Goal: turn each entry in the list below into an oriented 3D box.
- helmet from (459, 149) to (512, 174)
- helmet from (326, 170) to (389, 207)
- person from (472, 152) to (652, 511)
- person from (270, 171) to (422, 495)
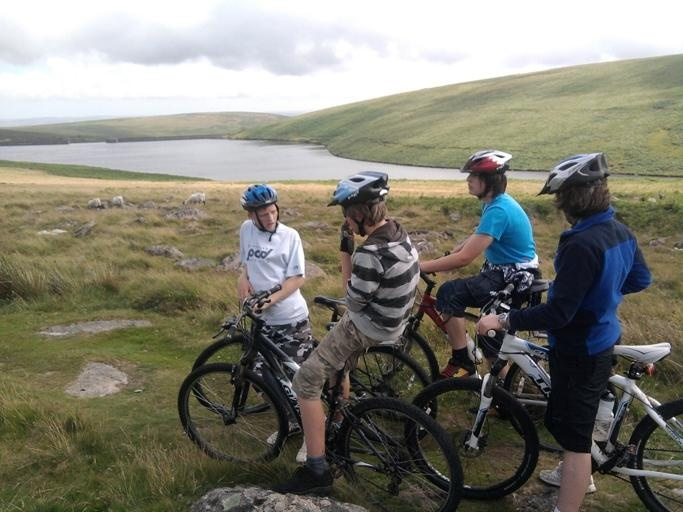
[{"bbox_3d":[1.952,-1.238,6.917,0.535,0.206,0.375,0,15,5],"label":"helmet"},{"bbox_3d":[0.173,-0.679,5.584,0.594,0.216,0.398,-1,17,28],"label":"helmet"},{"bbox_3d":[2.498,0.783,5.722,1.162,3.732,0.900,-12,16,-39],"label":"person"},{"bbox_3d":[0.148,0.883,5.740,1.449,3.531,0.455,-4,13,-8],"label":"person"}]
